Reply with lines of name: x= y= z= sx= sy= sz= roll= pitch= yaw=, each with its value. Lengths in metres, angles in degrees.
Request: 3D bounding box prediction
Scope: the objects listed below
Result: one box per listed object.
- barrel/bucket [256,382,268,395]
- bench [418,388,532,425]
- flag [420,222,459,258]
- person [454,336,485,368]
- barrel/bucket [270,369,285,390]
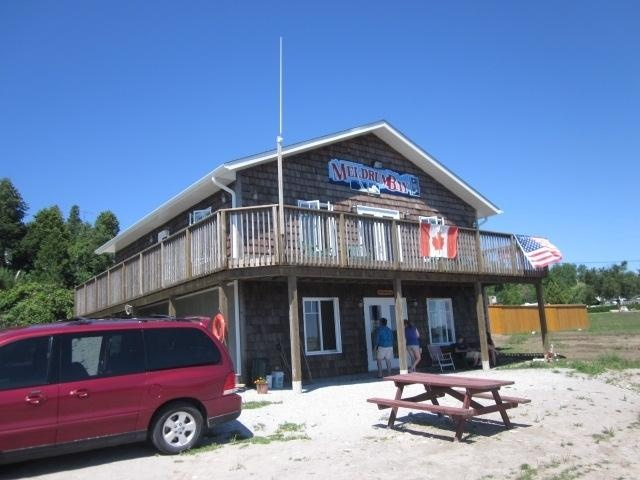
barrel/bucket: x=-1.581 y=4.008 z=13.350 sx=0.282 sy=0.238 sz=0.324 roll=-1 pitch=-15 yaw=1
bench: x=2.913 y=3.209 z=9.465 sx=1.013 sy=0.420 sz=1.160 roll=2 pitch=-7 yaw=-33
flag: x=3.999 y=0.042 z=16.703 sx=1.220 sy=0.853 sz=0.126 roll=4 pitch=-5 yaw=-28
person: x=5.688 y=4.232 z=18.810 sx=1.102 sy=1.220 sz=1.136 roll=7 pitch=-13 yaw=-38
barrel/bucket: x=-1.256 y=4.167 z=14.710 sx=0.488 sy=0.634 sz=0.430 roll=7 pitch=-23 yaw=-21
